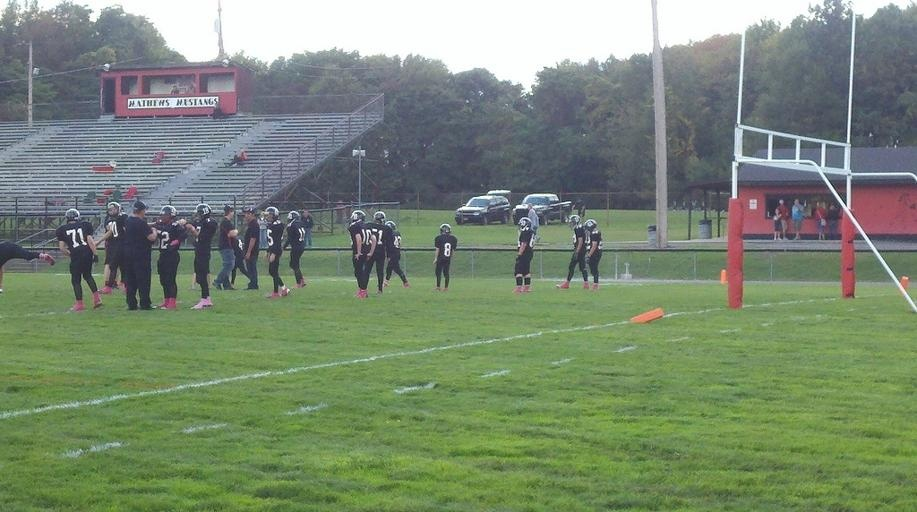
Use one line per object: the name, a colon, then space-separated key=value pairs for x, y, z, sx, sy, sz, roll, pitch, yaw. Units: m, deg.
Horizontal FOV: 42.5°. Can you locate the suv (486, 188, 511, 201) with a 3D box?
suv: x=2.971 y=-4.273 z=81.433 sx=1.402 sy=0.864 sz=1.904 roll=2 pitch=-2 yaw=-41

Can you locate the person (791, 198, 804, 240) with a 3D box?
person: x=19.287 y=-2.089 z=67.108 sx=0.652 sy=2.261 sz=1.437 roll=1 pitch=4 yaw=15

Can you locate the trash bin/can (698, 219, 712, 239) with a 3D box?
trash bin/can: x=14.492 y=-1.548 z=69.138 sx=0.676 sy=1.114 sz=0.787 roll=0 pitch=4 yaw=1

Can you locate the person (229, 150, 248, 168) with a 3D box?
person: x=-14.001 y=-6.287 z=76.186 sx=0.959 sy=1.061 sz=1.349 roll=2 pitch=4 yaw=22

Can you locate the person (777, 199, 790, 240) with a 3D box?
person: x=18.542 y=-2.115 z=67.638 sx=0.662 sy=2.263 sz=1.153 roll=1 pitch=4 yaw=16

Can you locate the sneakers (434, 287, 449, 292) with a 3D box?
sneakers: x=-0.718 y=1.520 z=52.051 sx=0.622 sy=0.208 sz=0.209 roll=5 pitch=4 yaw=21

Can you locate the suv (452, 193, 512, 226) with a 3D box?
suv: x=1.654 y=-2.934 z=77.264 sx=1.878 sy=1.101 sz=3.395 roll=0 pitch=0 yaw=29

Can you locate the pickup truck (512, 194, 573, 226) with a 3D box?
pickup truck: x=5.445 y=-3.119 z=77.116 sx=1.944 sy=1.237 sz=4.028 roll=1 pitch=3 yaw=32

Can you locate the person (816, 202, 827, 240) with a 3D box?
person: x=20.655 y=-1.915 z=67.092 sx=0.564 sy=1.888 sz=1.025 roll=1 pitch=4 yaw=15

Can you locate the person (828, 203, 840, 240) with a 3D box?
person: x=21.303 y=-1.965 z=66.970 sx=0.680 sy=1.981 sz=1.109 roll=1 pitch=4 yaw=16
